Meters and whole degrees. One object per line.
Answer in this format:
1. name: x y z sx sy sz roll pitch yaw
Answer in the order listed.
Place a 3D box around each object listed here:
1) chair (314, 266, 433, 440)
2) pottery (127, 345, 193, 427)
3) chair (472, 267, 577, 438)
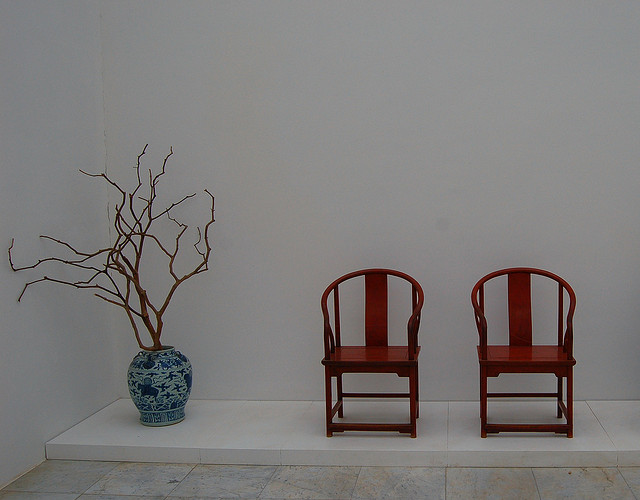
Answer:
1. chair: 0.344 0.629 4.108 0.666 1.032 0.585 -1 0 9
2. pottery: -1.067 0.852 4.294 0.323 0.547 0.330 -3 3 -35
3. chair: 1.332 0.666 4.136 0.745 1.326 0.766 -1 -11 9
